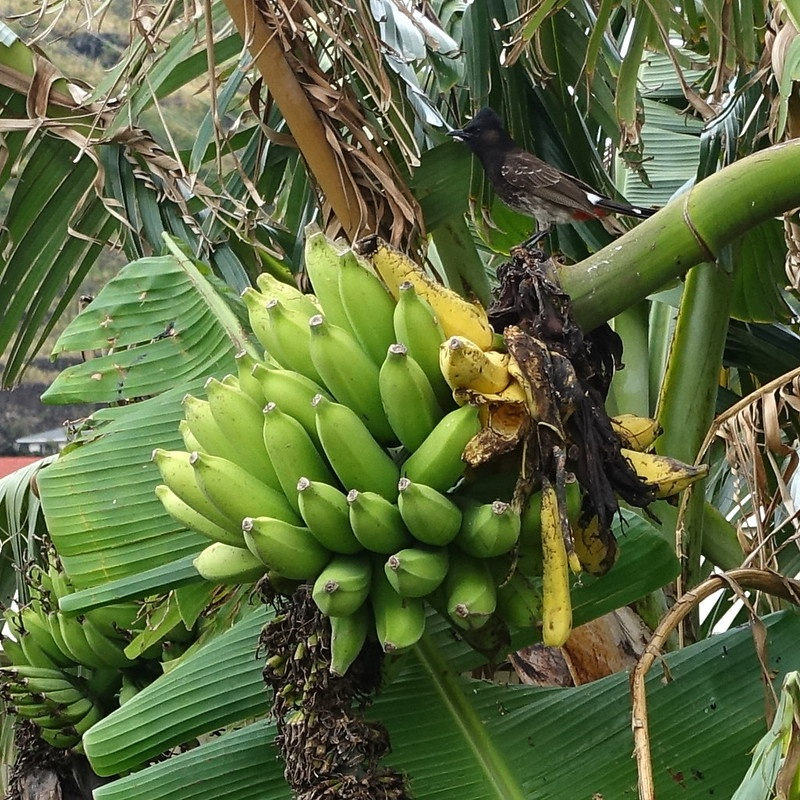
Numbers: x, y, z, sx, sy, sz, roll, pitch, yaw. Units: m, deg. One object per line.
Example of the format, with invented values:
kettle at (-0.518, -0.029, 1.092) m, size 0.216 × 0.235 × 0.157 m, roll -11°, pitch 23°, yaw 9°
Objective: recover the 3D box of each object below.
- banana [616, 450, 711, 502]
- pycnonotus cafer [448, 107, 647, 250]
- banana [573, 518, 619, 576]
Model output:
banana at (0.507, 0.130, 2.305) m, size 0.144 × 0.100 × 0.121 m, roll -20°, pitch 22°, yaw -14°
pycnonotus cafer at (0.383, -0.516, 2.951) m, size 0.376 × 0.425 × 0.357 m, roll -10°, pitch 14°, yaw -28°
banana at (0.376, 0.270, 2.290) m, size 0.081 × 0.102 × 0.032 m, roll -20°, pitch 9°, yaw 31°
